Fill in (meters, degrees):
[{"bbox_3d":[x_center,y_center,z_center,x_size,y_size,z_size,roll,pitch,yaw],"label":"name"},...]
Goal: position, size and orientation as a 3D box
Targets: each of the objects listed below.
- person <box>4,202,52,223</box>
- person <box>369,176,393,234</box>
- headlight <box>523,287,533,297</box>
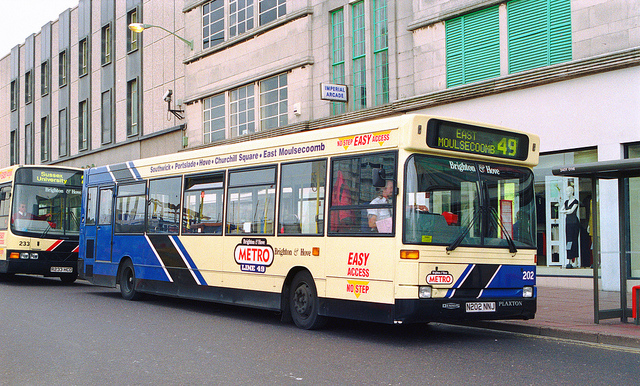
[{"bbox_3d":[-10.950,0.653,21.710,1.166,0.666,0.164,0,1,-19],"label":"person"},{"bbox_3d":[1.271,0.249,12.245,0.584,1.195,0.172,0,1,37],"label":"person"},{"bbox_3d":[4.609,2.196,12.805,0.207,0.205,0.072,2,-11,-7],"label":"headlight"}]
